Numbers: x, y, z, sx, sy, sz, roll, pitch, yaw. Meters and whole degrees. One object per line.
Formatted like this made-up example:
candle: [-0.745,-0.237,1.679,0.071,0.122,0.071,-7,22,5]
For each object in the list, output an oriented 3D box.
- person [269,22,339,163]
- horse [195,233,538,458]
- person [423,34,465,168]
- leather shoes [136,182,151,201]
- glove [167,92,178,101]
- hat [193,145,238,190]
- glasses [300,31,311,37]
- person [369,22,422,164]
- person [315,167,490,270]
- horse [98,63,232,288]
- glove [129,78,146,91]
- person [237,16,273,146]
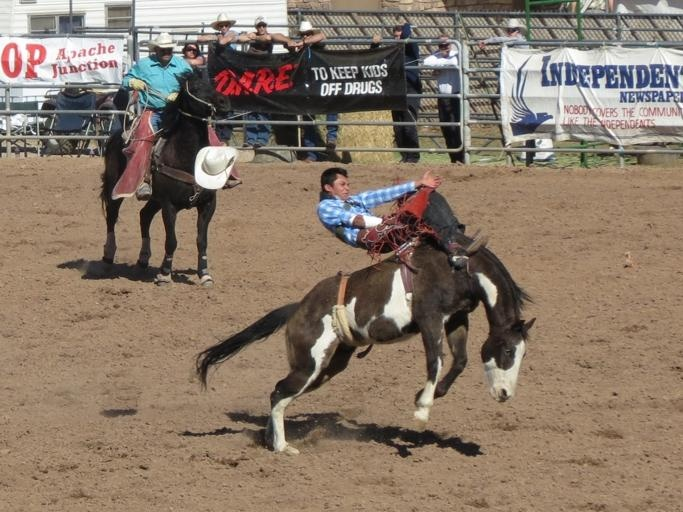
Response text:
person: [-0.545,-3.026,20.448,0.968,2.557,1.296,-1,7,-2]
horse: [0.214,0.969,11.872,4.511,1.771,0.812,-12,-23,36]
person: [1.848,-2.793,20.082,0.688,2.246,0.990,0,7,4]
leather shoes: [-2.736,-0.897,15.315,0.210,0.245,0.531,-2,6,-9]
glove: [-2.337,-2.188,15.376,0.197,0.064,0.161,-6,29,10]
hat: [-1.693,-1.174,14.855,0.621,0.583,0.475,-3,7,-22]
glasses: [-0.654,-3.994,20.049,0.193,0.116,0.304,0,6,0]
person: [1.071,-2.991,20.340,0.737,2.574,1.407,0,7,4]
person: [0.685,-0.429,11.611,1.802,0.742,1.018,3,12,18]
horse: [-2.414,-1.094,15.356,1.151,2.968,1.814,-6,9,-34]
glove: [-2.857,-2.354,15.366,0.217,0.126,0.073,20,-18,-40]
person: [-1.538,-3.176,20.342,0.555,2.379,0.984,-1,7,-4]
